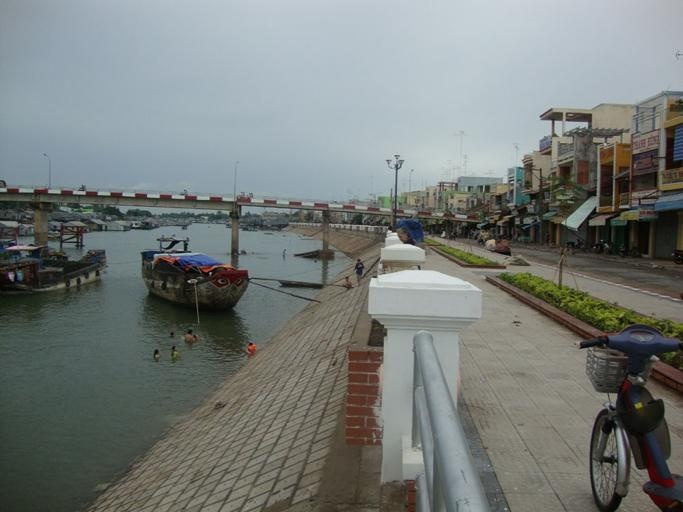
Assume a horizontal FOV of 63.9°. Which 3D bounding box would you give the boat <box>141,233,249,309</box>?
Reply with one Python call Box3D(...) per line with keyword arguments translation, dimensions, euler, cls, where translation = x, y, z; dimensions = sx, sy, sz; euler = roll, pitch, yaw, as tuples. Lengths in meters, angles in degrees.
Box3D(translation=(-8.723, 1.293, 33.029), dimensions=(3.657, 3.282, 8.363), euler=(-3, 11, -37), cls="boat")
